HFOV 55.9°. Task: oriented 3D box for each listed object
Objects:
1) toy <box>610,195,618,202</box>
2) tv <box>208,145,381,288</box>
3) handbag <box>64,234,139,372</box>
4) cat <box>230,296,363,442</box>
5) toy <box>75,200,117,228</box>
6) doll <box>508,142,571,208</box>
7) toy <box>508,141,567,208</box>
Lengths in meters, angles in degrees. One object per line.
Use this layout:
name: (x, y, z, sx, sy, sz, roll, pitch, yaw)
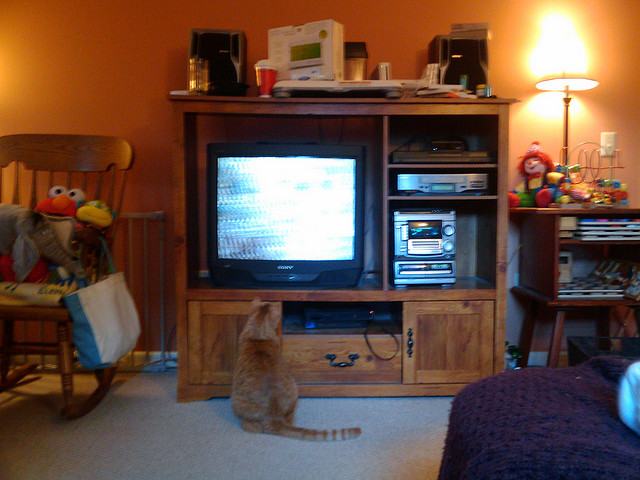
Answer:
toy: (1.577, -0.224, 3.250, 0.047, 0.030, 0.026, 0, -5, 20)
tv: (-0.098, -0.128, 3.414, 0.966, 0.784, 0.529, 2, 5, 14)
handbag: (-1.095, 0.298, 3.074, 0.262, 0.636, 0.389, -1, 9, 6)
cat: (-0.140, 0.623, 2.869, 0.531, 0.625, 0.210, 3, 10, 24)
toy: (-1.164, -0.125, 3.167, 0.243, 0.156, 0.129, 13, -9, -36)
doll: (1.223, -0.363, 3.360, 0.320, 0.355, 0.310, 2, 10, 20)
toy: (1.187, -0.375, 3.392, 0.326, 0.381, 0.270, -6, 4, 20)
